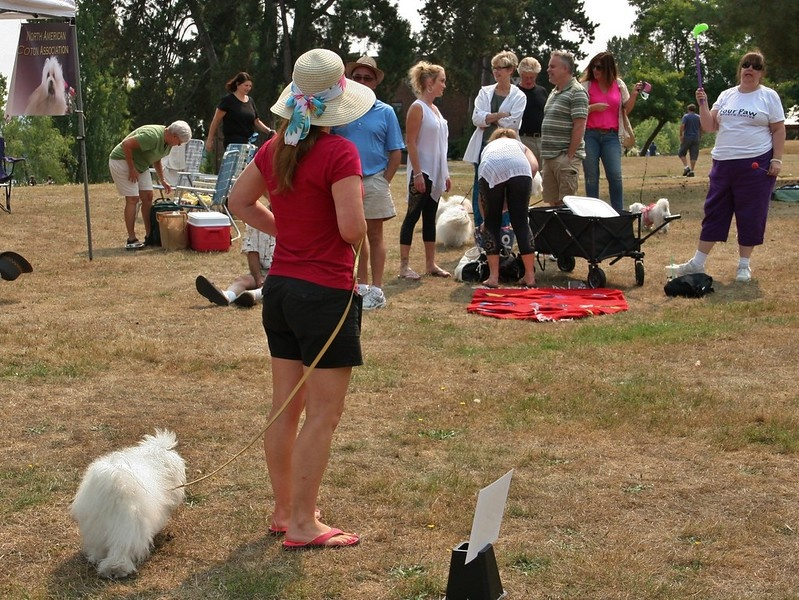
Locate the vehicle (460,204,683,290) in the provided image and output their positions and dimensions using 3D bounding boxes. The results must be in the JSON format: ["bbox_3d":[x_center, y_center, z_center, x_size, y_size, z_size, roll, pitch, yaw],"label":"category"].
[{"bbox_3d":[2.220,-0.724,14.639,2.055,0.951,1.278,6,11,38],"label":"vehicle"}]

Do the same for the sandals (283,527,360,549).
[{"bbox_3d":[-0.588,1.851,9.306,0.450,0.102,0.211,-3,0,-10],"label":"sandals"}]

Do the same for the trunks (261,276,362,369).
[{"bbox_3d":[-0.687,0.144,9.423,0.695,0.650,0.918,0,6,-42],"label":"trunks"}]

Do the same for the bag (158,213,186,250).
[{"bbox_3d":[-3.187,-0.955,17.027,0.432,0.521,0.545,-9,4,-17],"label":"bag"}]

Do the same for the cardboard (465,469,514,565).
[{"bbox_3d":[0.684,1.670,9.159,0.073,0.658,0.661,20,22,25],"label":"cardboard"}]

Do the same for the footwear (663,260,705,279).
[{"bbox_3d":[3.374,-0.369,14.361,0.520,0.212,0.189,6,11,31],"label":"footwear"}]

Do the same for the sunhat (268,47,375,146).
[{"bbox_3d":[-0.608,-1.525,9.106,0.735,0.468,0.772,18,46,24],"label":"sunhat"}]

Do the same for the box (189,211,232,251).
[{"bbox_3d":[-2.720,-0.977,17.087,0.514,0.529,0.778,-5,15,-24],"label":"box"}]

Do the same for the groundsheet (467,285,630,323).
[{"bbox_3d":[1.682,0.036,13.757,1.817,0.302,1.214,2,5,2],"label":"groundsheet"}]

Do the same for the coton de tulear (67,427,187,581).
[{"bbox_3d":[-2.175,1.603,9.619,0.766,0.828,1.339,9,10,9],"label":"coton de tulear"}]
